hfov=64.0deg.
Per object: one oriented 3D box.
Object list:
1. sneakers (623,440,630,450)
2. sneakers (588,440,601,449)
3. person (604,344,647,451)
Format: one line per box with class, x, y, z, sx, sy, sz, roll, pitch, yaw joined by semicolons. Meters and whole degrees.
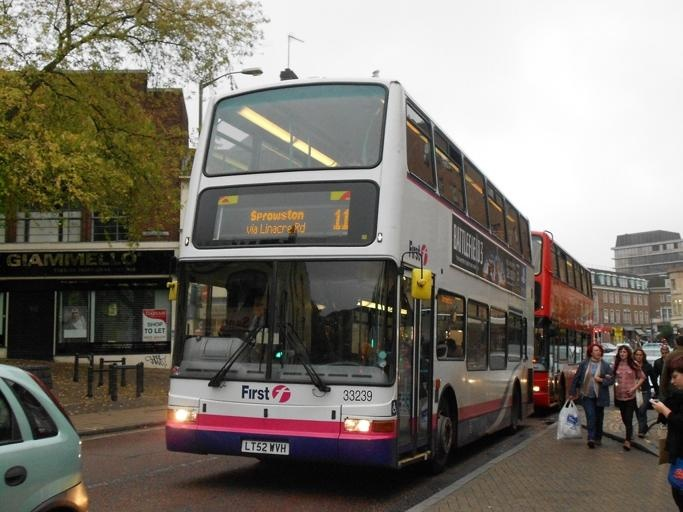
sneakers;6.230;4.142;11.959;0.135;0.207;0.421;-4;-10;28
sneakers;5.740;4.306;12.449;0.158;0.260;0.567;-8;-22;26
person;6.528;3.176;12.420;0.660;2.268;1.293;-4;-9;29
